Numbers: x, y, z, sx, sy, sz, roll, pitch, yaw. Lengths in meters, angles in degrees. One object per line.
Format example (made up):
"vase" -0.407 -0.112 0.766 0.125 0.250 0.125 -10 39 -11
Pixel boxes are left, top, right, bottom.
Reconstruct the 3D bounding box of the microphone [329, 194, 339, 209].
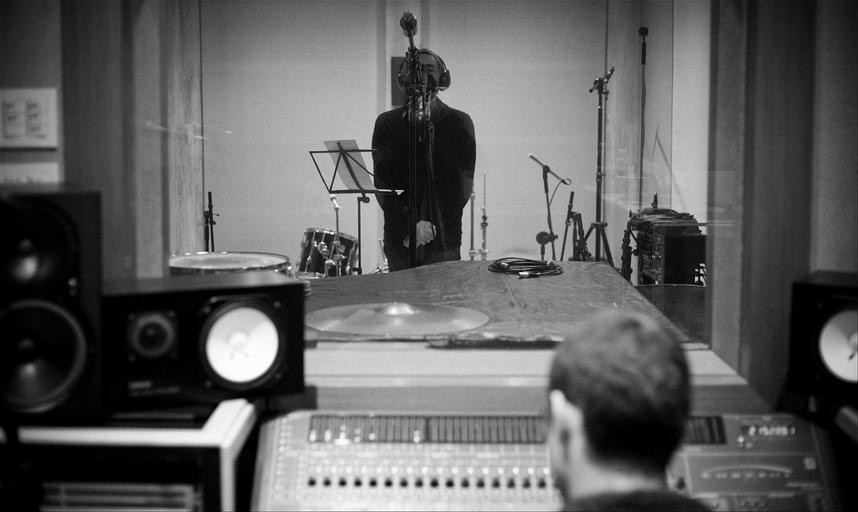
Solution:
"microphone" -0.380 -0.221 2.912 0.030 0.055 0.024 -5 -6 -7

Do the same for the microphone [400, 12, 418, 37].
"microphone" -0.078 -0.924 2.886 0.070 0.095 0.035 1 9 3

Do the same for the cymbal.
"cymbal" -0.125 0.252 2.905 0.729 0.115 0.163 -1 8 5

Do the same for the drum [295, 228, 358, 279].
"drum" -0.400 -0.012 2.932 0.208 0.150 0.209 11 -1 0

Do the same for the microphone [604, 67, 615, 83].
"microphone" 0.726 -0.730 2.911 0.040 0.066 0.010 -4 9 -15

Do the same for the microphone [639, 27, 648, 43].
"microphone" 0.862 -0.888 2.916 0.050 0.054 0.047 -1 -22 7

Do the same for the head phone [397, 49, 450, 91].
"head phone" 0.011 -0.731 2.967 0.151 0.157 0.185 -11 -10 13

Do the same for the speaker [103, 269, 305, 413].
"speaker" -0.709 0.305 2.441 0.645 0.391 0.386 -5 -6 5
